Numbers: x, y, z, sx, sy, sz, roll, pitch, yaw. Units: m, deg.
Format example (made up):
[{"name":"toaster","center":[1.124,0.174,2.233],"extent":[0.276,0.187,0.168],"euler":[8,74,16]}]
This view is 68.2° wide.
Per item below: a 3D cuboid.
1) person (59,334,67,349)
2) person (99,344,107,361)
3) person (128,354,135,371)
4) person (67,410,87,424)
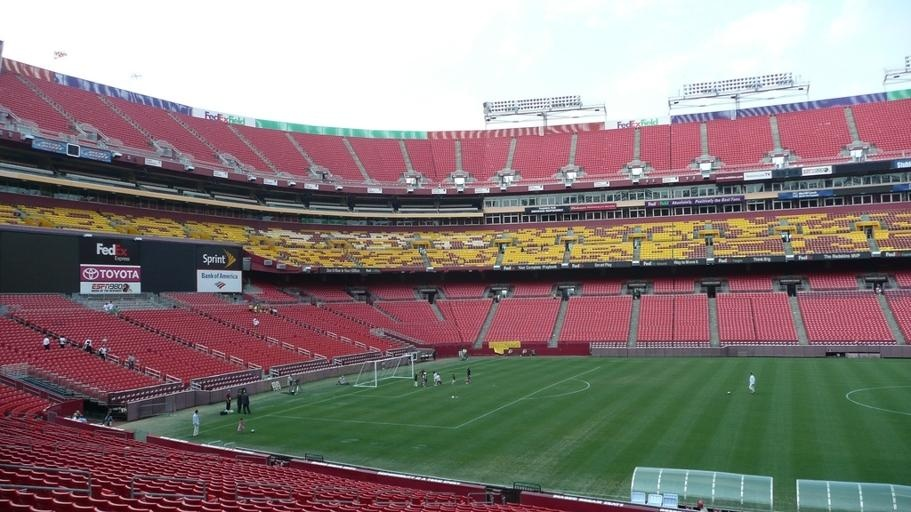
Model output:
[{"name":"person","center":[-34.642,7.568,59.372],"extent":[0.661,1.124,1.526],"euler":[13,-23,-27]},{"name":"person","center":[-31.377,8.643,59.971],"extent":[0.731,1.328,0.936],"euler":[14,-25,-30]},{"name":"person","center":[-28.898,9.482,59.963],"extent":[0.692,1.399,0.920],"euler":[11,-24,-24]},{"name":"person","center":[-29.761,12.729,53.067],"extent":[1.645,0.681,1.378],"euler":[0,-3,-18]}]
